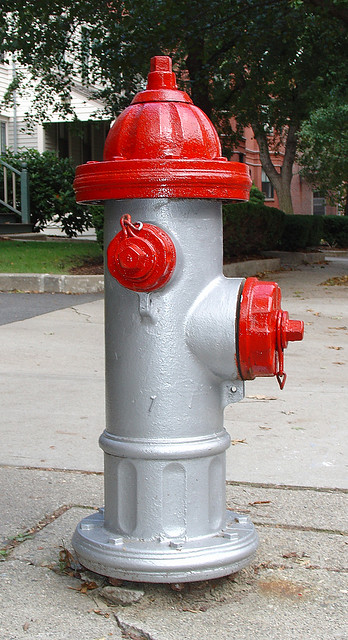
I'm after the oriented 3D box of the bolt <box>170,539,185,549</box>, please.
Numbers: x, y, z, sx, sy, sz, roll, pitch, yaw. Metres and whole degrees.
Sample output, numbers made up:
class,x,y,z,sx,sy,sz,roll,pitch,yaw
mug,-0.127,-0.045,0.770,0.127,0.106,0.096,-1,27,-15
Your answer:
class,x,y,z,sx,sy,sz,roll,pitch,yaw
bolt,0.004,0.699,2.639,0.046,0.026,0.025,-2,2,21

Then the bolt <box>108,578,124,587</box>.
class,x,y,z,sx,sy,sz,roll,pitch,yaw
bolt,-0.187,0.840,2.693,0.043,0.031,0.046,3,7,-6
